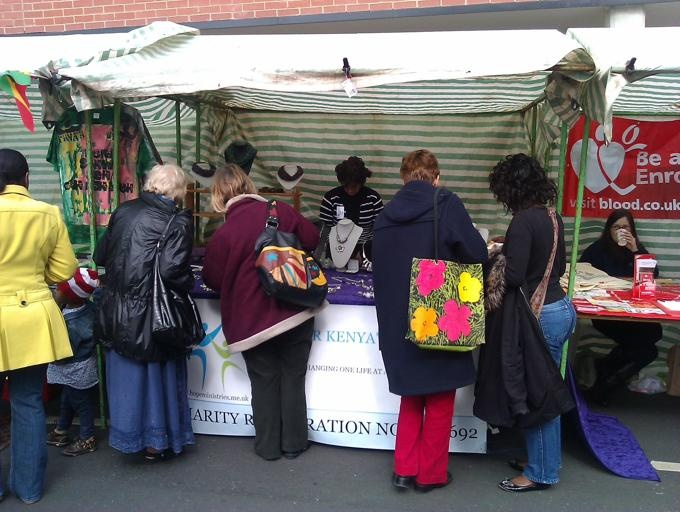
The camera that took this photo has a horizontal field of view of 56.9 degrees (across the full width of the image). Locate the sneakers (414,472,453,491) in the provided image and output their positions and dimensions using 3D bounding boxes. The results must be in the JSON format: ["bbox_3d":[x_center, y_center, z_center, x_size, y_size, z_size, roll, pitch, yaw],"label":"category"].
[{"bbox_3d":[0.569,1.365,3.772,0.230,0.099,0.085,-6,11,-28],"label":"sneakers"}]

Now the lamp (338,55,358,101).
[{"bbox_3d":[0.055,-1.036,3.575,0.081,0.215,0.077,0,7,2],"label":"lamp"}]

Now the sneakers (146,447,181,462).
[{"bbox_3d":[-1.095,1.264,4.018,0.264,0.108,0.088,9,-4,-30],"label":"sneakers"}]

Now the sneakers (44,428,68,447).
[{"bbox_3d":[-1.835,1.196,4.111,0.166,0.086,0.070,9,1,9],"label":"sneakers"}]

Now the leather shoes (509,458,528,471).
[{"bbox_3d":[1.119,1.303,3.920,0.116,0.033,0.067,1,14,25],"label":"leather shoes"}]

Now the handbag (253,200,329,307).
[{"bbox_3d":[-0.314,-0.036,3.842,0.493,0.759,0.230,16,-36,-41],"label":"handbag"}]

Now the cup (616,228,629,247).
[{"bbox_3d":[2.169,-0.145,4.830,0.083,0.112,0.111,-1,-5,11],"label":"cup"}]

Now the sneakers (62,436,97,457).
[{"bbox_3d":[-1.662,1.226,3.995,0.194,0.097,0.088,0,20,-30],"label":"sneakers"}]

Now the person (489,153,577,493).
[{"bbox_3d":[1.115,0.402,3.672,0.509,1.981,0.353,2,7,12],"label":"person"}]

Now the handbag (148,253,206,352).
[{"bbox_3d":[-0.976,0.283,3.696,0.187,0.511,0.385,-15,-37,9],"label":"handbag"}]

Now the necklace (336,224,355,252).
[{"bbox_3d":[0.043,-0.168,4.573,0.109,0.135,0.131,0,5,7],"label":"necklace"}]

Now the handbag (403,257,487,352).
[{"bbox_3d":[0.574,0.262,3.423,0.494,0.559,0.144,1,0,-3],"label":"handbag"}]

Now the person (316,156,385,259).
[{"bbox_3d":[0.080,-0.373,5.048,0.591,0.857,0.469,-11,26,-17],"label":"person"}]

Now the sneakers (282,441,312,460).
[{"bbox_3d":[-0.274,1.273,4.075,0.066,0.139,0.199,-2,-19,22],"label":"sneakers"}]

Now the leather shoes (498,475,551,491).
[{"bbox_3d":[1.092,1.359,3.696,0.278,0.084,0.113,3,-6,3],"label":"leather shoes"}]
